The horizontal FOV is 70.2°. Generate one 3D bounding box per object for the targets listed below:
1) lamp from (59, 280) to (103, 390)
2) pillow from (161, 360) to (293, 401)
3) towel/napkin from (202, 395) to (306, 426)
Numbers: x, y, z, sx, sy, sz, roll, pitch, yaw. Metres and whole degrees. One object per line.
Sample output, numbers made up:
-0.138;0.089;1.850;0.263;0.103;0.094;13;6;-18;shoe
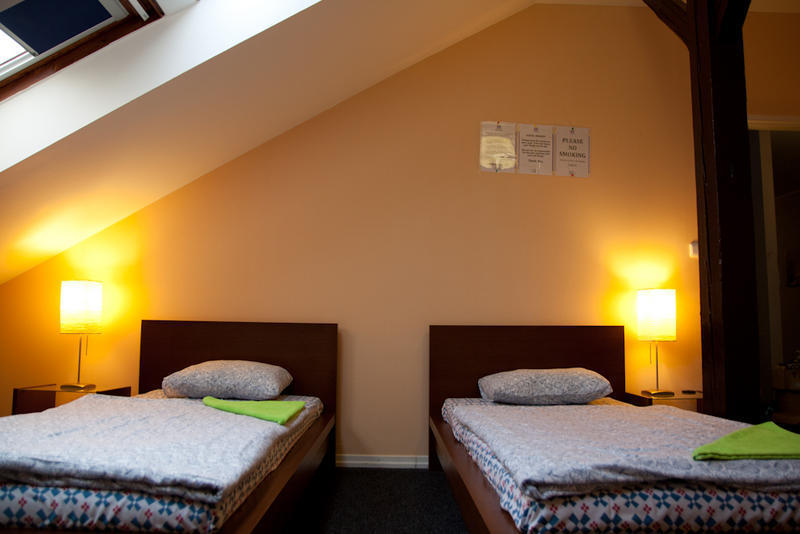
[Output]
-2.503;0.526;4.482;0.309;0.828;0.316;2;-6;-30;lamp
-1.255;0.811;4.093;0.830;0.242;0.336;-1;-5;4;pillow
-0.895;0.905;3.647;0.659;0.122;0.431;-3;-5;31;towel/napkin
